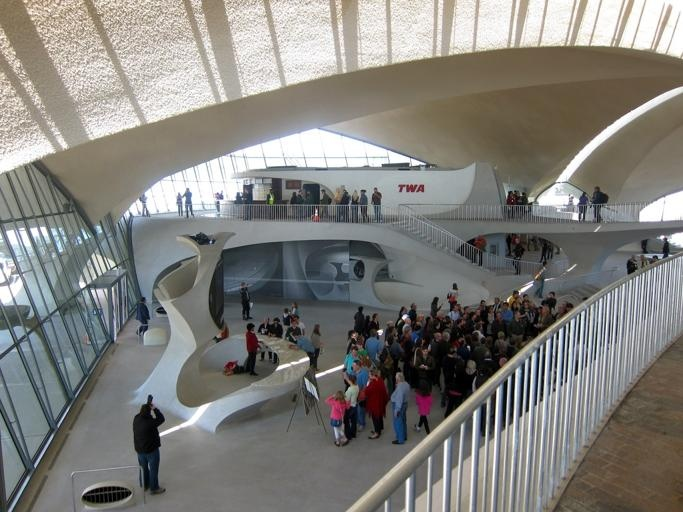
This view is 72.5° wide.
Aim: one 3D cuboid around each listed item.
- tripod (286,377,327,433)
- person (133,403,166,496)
[{"bbox_3d":[-0.934,3.807,11.944,1.011,1.563,1.252,-5,-7,13],"label":"tripod"},{"bbox_3d":[-3.756,3.803,9.138,0.547,1.751,0.607,-5,8,-25],"label":"person"}]
